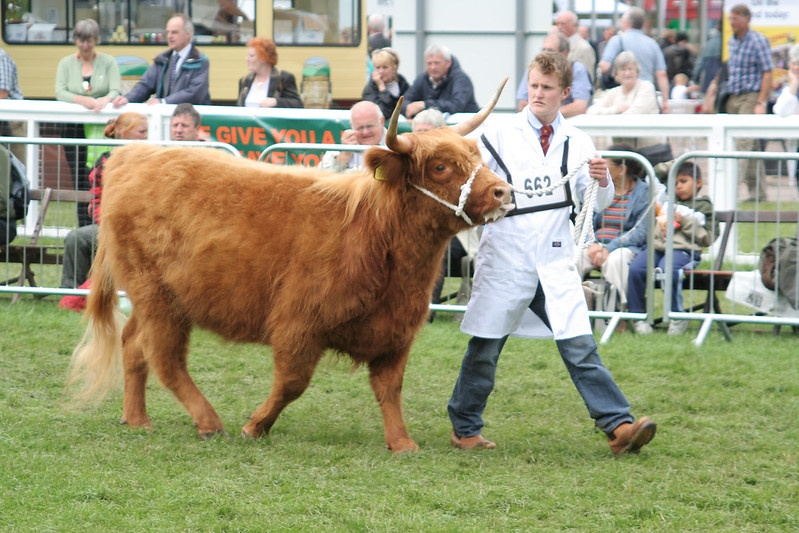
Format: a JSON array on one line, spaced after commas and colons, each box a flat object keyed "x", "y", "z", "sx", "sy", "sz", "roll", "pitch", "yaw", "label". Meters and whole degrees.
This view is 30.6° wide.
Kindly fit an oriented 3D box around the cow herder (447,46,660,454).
[{"x": 1.268, "y": -0.141, "z": 13.254, "sx": 2.160, "sy": 3.738, "sz": 1.694, "roll": 0, "pitch": -6, "yaw": 27, "label": "cow herder"}]

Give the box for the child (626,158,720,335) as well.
[{"x": 2.999, "y": -0.304, "z": 16.301, "sx": 0.708, "sy": 2.093, "sz": 0.815, "roll": 4, "pitch": -3, "yaw": -27, "label": "child"}]

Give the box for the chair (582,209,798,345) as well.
[{"x": 3.148, "y": 0.120, "z": 16.081, "sx": 1.291, "sy": 1.026, "sz": 0.531, "roll": 1, "pitch": -2, "yaw": 24, "label": "chair"}]

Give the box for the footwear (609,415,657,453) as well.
[{"x": 2.137, "y": 1.548, "z": 13.360, "sx": 0.213, "sy": 0.217, "sz": 0.515, "roll": 19, "pitch": -45, "yaw": -35, "label": "footwear"}]

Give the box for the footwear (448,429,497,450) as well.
[{"x": 0.664, "y": 1.592, "z": 13.553, "sx": 0.400, "sy": 0.182, "sz": 0.155, "roll": -2, "pitch": -2, "yaw": 16, "label": "footwear"}]

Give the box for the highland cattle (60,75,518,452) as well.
[{"x": -1.108, "y": 0.146, "z": 13.503, "sx": 3.709, "sy": 3.011, "sz": 0.615, "roll": 2, "pitch": 6, "yaw": 12, "label": "highland cattle"}]

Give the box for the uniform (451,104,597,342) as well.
[{"x": 1.165, "y": -0.312, "z": 13.494, "sx": 1.395, "sy": 2.067, "sz": 1.056, "roll": 1, "pitch": 7, "yaw": 9, "label": "uniform"}]
